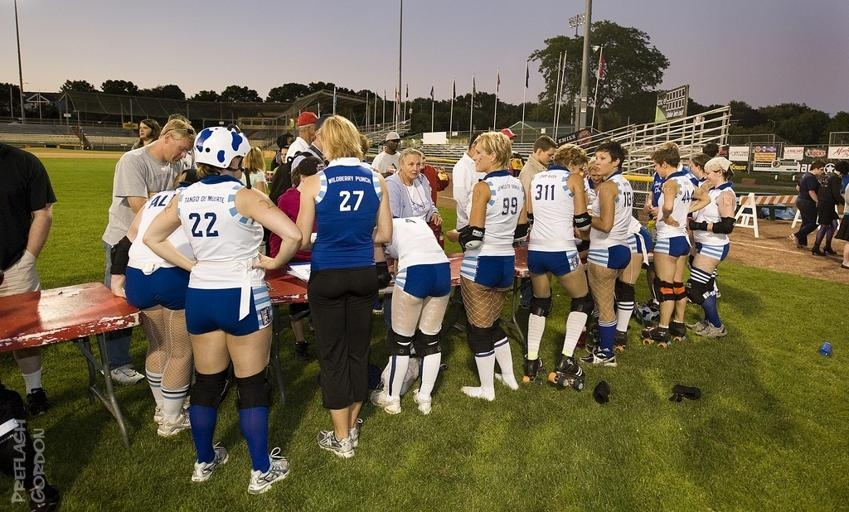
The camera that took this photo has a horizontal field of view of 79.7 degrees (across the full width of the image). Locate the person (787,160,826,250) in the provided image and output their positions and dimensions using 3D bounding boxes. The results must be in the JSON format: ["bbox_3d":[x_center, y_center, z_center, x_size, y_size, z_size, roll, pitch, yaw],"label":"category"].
[{"bbox_3d":[11.362,-1.499,14.941,1.287,2.352,0.900,2,3,24],"label":"person"}]

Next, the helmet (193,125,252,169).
[{"bbox_3d":[-2.086,-1.117,5.252,0.546,0.415,0.267,-7,16,-23],"label":"helmet"}]
